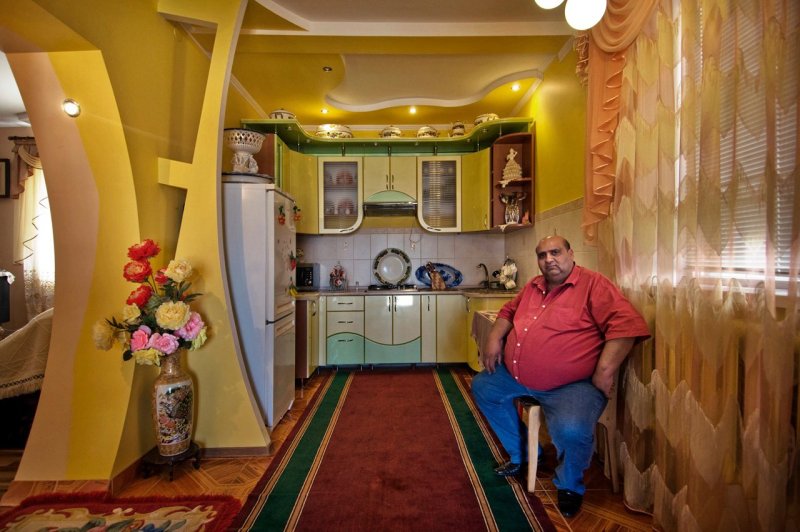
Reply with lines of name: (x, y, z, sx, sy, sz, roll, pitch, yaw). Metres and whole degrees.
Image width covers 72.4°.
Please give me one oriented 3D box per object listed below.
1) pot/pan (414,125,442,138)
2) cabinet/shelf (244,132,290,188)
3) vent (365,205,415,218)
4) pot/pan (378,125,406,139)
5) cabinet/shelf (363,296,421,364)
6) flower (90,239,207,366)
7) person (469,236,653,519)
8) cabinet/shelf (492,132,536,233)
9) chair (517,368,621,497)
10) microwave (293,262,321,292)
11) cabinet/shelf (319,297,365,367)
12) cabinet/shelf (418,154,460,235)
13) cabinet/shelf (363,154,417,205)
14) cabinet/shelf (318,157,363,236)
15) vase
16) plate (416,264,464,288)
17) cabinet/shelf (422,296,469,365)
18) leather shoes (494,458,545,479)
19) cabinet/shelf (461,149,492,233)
pot/pan: (0.281, -1.407, 5.797, 0.183, 0.127, 0.188, 1, 4, 22)
cabinet/shelf: (-1.172, -0.919, 4.753, 0.243, 0.388, 0.704, -3, 3, 2)
vent: (-0.102, -0.602, 5.900, 0.557, 0.173, 0.226, -1, 15, -3)
pot/pan: (-0.088, -1.419, 5.805, 0.224, 0.123, 0.349, 0, 15, 0)
cabinet/shelf: (-0.108, 0.631, 5.605, 0.670, 0.805, 0.401, 0, -2, -2)
flower: (-1.671, 0.222, 3.747, 0.692, 0.799, 0.763, 4, 5, -43)
person: (0.963, 0.633, 3.525, 0.597, 1.566, 0.977, -12, 19, -38)
cabinet/shelf: (1.163, -0.819, 5.454, 0.361, 0.880, 0.897, -3, 5, -4)
chair: (1.082, 1.171, 4.003, 0.672, 1.157, 0.661, 0, -8, 4)
microwave: (-1.002, 0.128, 5.971, 0.255, 0.351, 0.354, -1, 0, 1)
cabinet/shelf: (-0.604, 0.669, 5.784, 0.464, 0.697, 0.450, 0, -6, -14)
cabinet/shelf: (0.433, -0.713, 5.992, 0.496, 0.901, 0.329, -2, -15, 9)
cabinet/shelf: (-0.106, -0.968, 5.937, 0.582, 0.513, 0.228, -1, 33, -3)
cabinet/shelf: (-0.626, -0.730, 5.976, 0.466, 0.836, 0.269, -1, -7, -1)
vase: (-1.483, 0.910, 3.582, 0.189, 0.647, 0.245, 7, 16, 25)
plate: (0.439, 0.117, 6.065, 0.540, 0.263, 0.282, 1, 15, 2)
cabinet/shelf: (0.455, 0.638, 5.604, 0.448, 0.689, 0.188, 0, 14, -1)
leather shoes: (0.822, 1.353, 3.709, 0.396, 0.173, 0.136, 2, -4, -4)
cabinet/shelf: (0.686, -0.808, 5.893, 0.588, 0.868, 0.695, 1, 8, 9)
